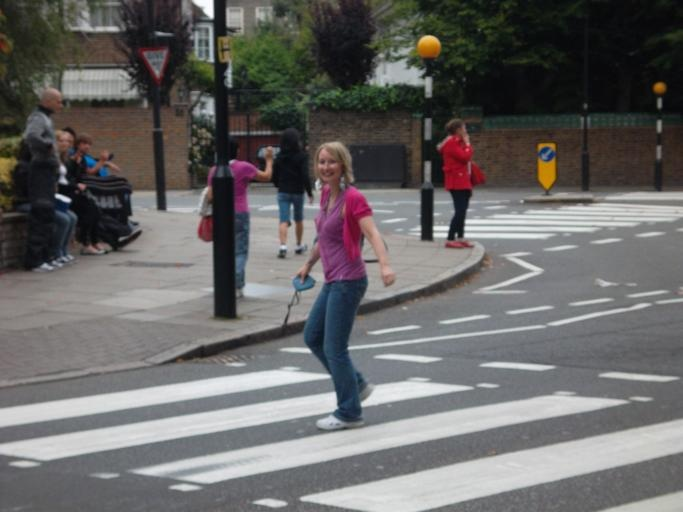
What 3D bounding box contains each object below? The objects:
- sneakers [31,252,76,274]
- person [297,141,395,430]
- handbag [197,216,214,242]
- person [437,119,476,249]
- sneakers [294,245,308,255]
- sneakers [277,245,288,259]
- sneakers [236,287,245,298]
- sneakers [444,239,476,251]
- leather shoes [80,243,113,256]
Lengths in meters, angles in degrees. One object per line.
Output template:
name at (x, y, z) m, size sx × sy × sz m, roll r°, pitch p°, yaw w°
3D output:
sneakers at (-4.363, 0.121, 16.941) m, size 0.479 × 0.196 × 0.159 m, roll -12°, pitch 20°, yaw -32°
person at (0.047, 0.277, 10.736) m, size 0.810 × 2.641 × 0.932 m, roll -2°, pitch 15°, yaw -6°
handbag at (-1.773, -0.344, 14.544) m, size 0.169 × 0.383 × 0.326 m, roll -1°, pitch 15°, yaw -4°
person at (1.981, -1.231, 19.178) m, size 0.585 × 2.292 × 1.261 m, roll 1°, pitch 15°, yaw 6°
sneakers at (-0.656, -0.107, 18.496) m, size 0.086 × 0.155 × 0.235 m, roll 9°, pitch 22°, yaw 27°
sneakers at (-0.939, -0.030, 18.052) m, size 0.104 × 0.123 × 0.274 m, roll 3°, pitch -29°, yaw -8°
sneakers at (-1.355, 0.493, 14.840) m, size 0.136 × 0.076 × 0.217 m, roll 1°, pitch 10°, yaw 3°
sneakers at (2.052, -0.188, 19.072) m, size 0.511 × 0.193 × 0.168 m, roll 0°, pitch 7°, yaw -2°
leather shoes at (-4.052, -0.095, 18.324) m, size 0.560 × 0.229 × 0.186 m, roll -4°, pitch -3°, yaw 32°
